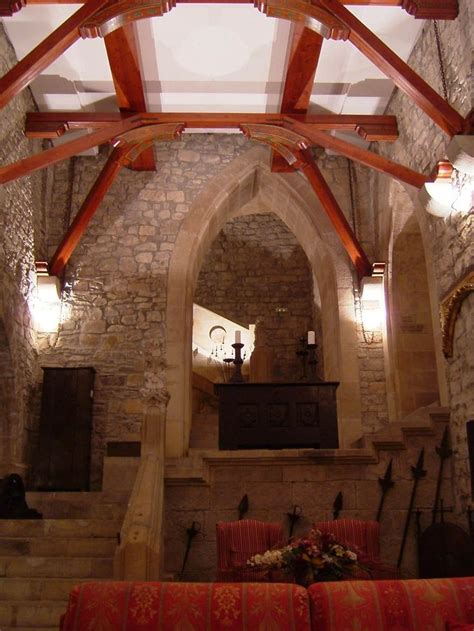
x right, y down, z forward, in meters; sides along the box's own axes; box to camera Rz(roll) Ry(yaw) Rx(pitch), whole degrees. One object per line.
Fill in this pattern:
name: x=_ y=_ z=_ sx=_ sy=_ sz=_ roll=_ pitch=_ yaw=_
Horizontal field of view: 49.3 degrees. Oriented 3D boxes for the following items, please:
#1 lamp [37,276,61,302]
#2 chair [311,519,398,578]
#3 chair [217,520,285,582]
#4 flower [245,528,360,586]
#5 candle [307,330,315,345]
lamp: x=-2.723 y=-0.371 z=7.432 sx=0.314 sy=0.323 sz=0.320 roll=5 pitch=-14 yaw=-10
chair: x=0.671 y=1.520 z=3.176 sx=0.378 sy=0.396 sz=0.492 roll=-16 pitch=-43 yaw=7
chair: x=0.077 y=1.499 z=3.239 sx=0.466 sy=0.403 sz=0.346 roll=5 pitch=-32 yaw=-13
flower: x=0.290 y=1.131 z=2.385 sx=0.538 sy=0.269 sz=0.309 roll=-1 pitch=-14 yaw=17
candle: x=0.895 y=0.294 z=6.240 sx=0.073 sy=0.213 sz=0.236 roll=0 pitch=-14 yaw=14
